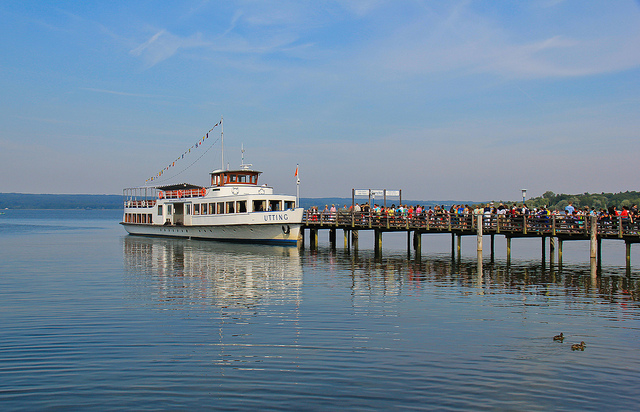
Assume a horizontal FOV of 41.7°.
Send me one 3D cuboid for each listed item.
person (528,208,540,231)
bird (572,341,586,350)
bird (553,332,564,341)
[{"bbox_3d":[15.277,1.178,60.376,0.780,1.316,1.958,0,-1,14],"label":"person"},{"bbox_3d":[11.874,6.497,38.774,0.610,0.295,0.432,0,-1,2],"label":"bird"},{"bbox_3d":[11.304,6.203,39.663,0.501,0.297,0.610,-1,-1,37],"label":"bird"}]
